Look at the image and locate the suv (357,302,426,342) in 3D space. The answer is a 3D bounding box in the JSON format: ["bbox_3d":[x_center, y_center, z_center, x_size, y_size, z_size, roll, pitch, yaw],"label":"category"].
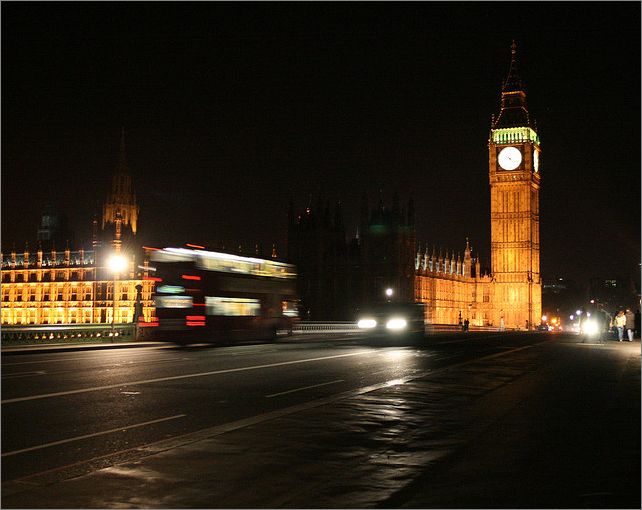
[{"bbox_3d":[3.909,3.607,43.515,2.149,1.418,3.331,-4,-9,29],"label":"suv"}]
